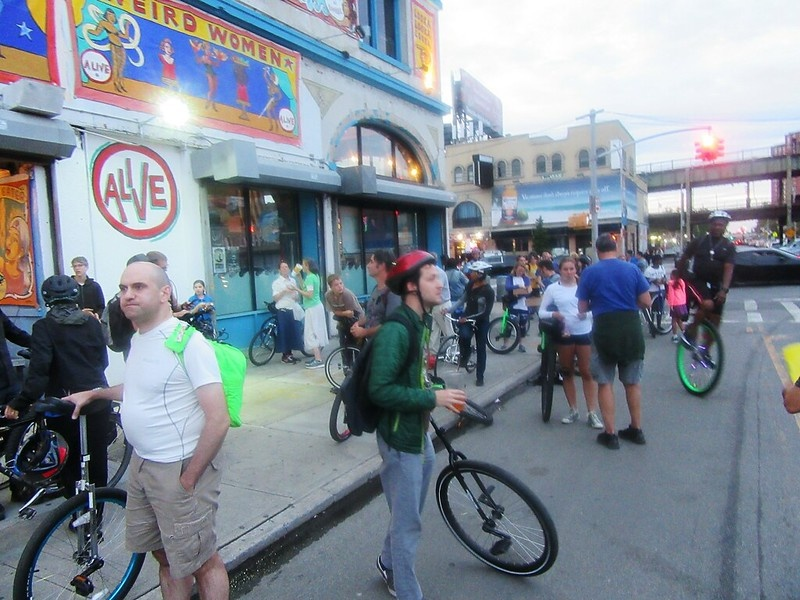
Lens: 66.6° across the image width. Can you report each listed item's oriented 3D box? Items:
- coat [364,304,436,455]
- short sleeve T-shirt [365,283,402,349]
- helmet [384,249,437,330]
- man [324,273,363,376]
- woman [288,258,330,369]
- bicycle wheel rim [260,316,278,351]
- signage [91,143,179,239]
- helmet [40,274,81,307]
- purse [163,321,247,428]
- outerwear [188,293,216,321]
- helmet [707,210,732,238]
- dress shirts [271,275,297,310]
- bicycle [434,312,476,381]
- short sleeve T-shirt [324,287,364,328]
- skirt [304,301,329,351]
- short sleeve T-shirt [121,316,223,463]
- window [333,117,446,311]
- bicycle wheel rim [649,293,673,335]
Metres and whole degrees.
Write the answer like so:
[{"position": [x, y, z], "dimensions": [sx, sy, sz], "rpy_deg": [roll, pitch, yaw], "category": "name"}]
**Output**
[{"position": [0.006, 0.574, 4.364], "dimensions": [0.488, 1.042, 0.374], "rpy_deg": [-3, 13, -5], "category": "coat"}, {"position": [-0.264, 0.159, 7.418], "dimensions": [0.379, 0.739, 0.724], "rpy_deg": [4, 4, -21], "category": "short sleeve T-shirt"}, {"position": [0.112, -0.083, 4.396], "dimensions": [0.445, 0.615, 0.379], "rpy_deg": [-7, 7, -4], "category": "helmet"}, {"position": [-0.835, 0.361, 9.299], "dimensions": [0.476, 1.440, 0.600], "rpy_deg": [1, 13, 28], "category": "man"}, {"position": [-1.644, 0.210, 11.013], "dimensions": [0.576, 1.917, 0.581], "rpy_deg": [1, 5, 12], "category": "woman"}, {"position": [-2.481, 0.623, 11.459], "dimensions": [0.388, 0.625, 0.182], "rpy_deg": [4, 5, 24], "category": "bicycle wheel rim"}, {"position": [-4.266, -1.745, 9.804], "dimensions": [0.269, 1.534, 1.503], "rpy_deg": [4, 15, 24], "category": "signage"}, {"position": [-2.964, -0.095, 5.342], "dimensions": [0.230, 0.324, 0.308], "rpy_deg": [-1, 14, -22], "category": "helmet"}, {"position": [-1.386, 0.541, 4.297], "dimensions": [0.603, 0.703, 0.422], "rpy_deg": [11, -10, -18], "category": "purse"}, {"position": [-3.292, 0.115, 10.010], "dimensions": [0.278, 0.545, 0.424], "rpy_deg": [-7, -3, 42], "category": "outerwear"}, {"position": [4.657, -1.107, 8.736], "dimensions": [0.294, 0.414, 0.411], "rpy_deg": [1, -4, 15], "category": "helmet"}, {"position": [-2.158, -0.124, 11.358], "dimensions": [0.338, 0.663, 0.607], "rpy_deg": [-1, 2, 37], "category": "dress shirts"}, {"position": [0.883, 0.863, 10.203], "dimensions": [0.520, 0.739, 1.131], "rpy_deg": [3, -3, 29], "category": "bicycle"}, {"position": [-0.752, 0.051, 9.352], "dimensions": [0.365, 0.593, 0.428], "rpy_deg": [-23, 33, -33], "category": "short sleeve T-shirt"}, {"position": [-1.614, 0.367, 10.939], "dimensions": [0.332, 0.674, 0.448], "rpy_deg": [23, -25, -36], "category": "skirt"}, {"position": [-1.567, 0.609, 4.152], "dimensions": [0.674, 0.895, 0.415], "rpy_deg": [4, 15, 22], "category": "short sleeve T-shirt"}, {"position": [-0.237, -2.455, 16.362], "dimensions": [0.721, 4.878, 5.113], "rpy_deg": [2, 4, 41], "category": "window"}, {"position": [5.562, 0.305, 12.946], "dimensions": [0.146, 0.822, 0.796], "rpy_deg": [7, 4, 36], "category": "bicycle wheel rim"}]
